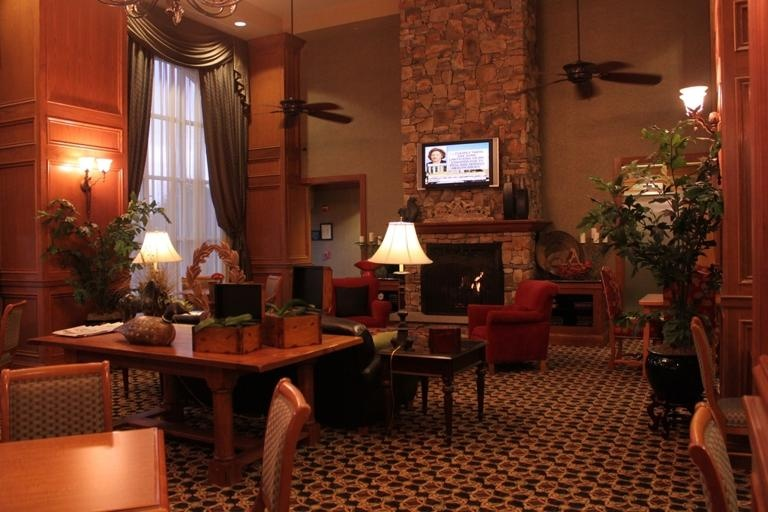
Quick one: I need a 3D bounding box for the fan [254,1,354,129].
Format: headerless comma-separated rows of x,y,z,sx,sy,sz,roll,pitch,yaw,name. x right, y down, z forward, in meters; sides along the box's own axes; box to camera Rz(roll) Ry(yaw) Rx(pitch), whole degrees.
-1.282,-3.390,10.216,1.448,2.452,2.769,-1,8,-4,fan

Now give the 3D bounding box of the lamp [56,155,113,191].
-3.650,-1.000,7.474,0.378,0.460,0.748,13,12,35,lamp

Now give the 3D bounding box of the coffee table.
0.482,1.205,5.576,0.911,0.729,1.034,-2,-1,37,coffee table

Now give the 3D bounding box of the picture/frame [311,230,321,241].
-1.561,-0.488,13.729,0.297,0.271,0.160,3,5,32,picture/frame

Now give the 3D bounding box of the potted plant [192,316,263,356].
-1.237,0.635,4.723,0.467,0.224,0.341,2,5,26,potted plant

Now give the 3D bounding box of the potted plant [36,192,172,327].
-3.572,-0.019,7.754,1.351,1.492,1.398,2,-11,41,potted plant

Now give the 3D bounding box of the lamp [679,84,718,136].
3.560,-1.564,6.702,0.375,0.465,0.292,-4,6,31,lamp

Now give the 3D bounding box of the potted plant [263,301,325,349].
-0.753,0.552,4.880,0.367,0.258,0.507,-2,4,-29,potted plant

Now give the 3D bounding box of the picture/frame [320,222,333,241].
-1.310,-0.577,13.711,0.432,0.485,0.069,0,-2,8,picture/frame
